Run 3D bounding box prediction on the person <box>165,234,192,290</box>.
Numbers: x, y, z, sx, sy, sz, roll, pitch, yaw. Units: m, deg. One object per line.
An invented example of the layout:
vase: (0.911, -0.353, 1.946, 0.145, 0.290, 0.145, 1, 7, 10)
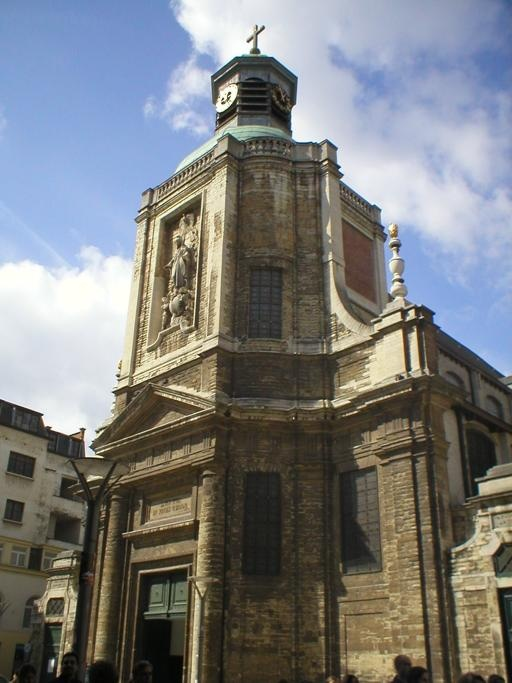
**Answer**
person: (-3.192, -3.463, 26.117, 0.536, 2.862, 1.286, 23, -33, -39)
